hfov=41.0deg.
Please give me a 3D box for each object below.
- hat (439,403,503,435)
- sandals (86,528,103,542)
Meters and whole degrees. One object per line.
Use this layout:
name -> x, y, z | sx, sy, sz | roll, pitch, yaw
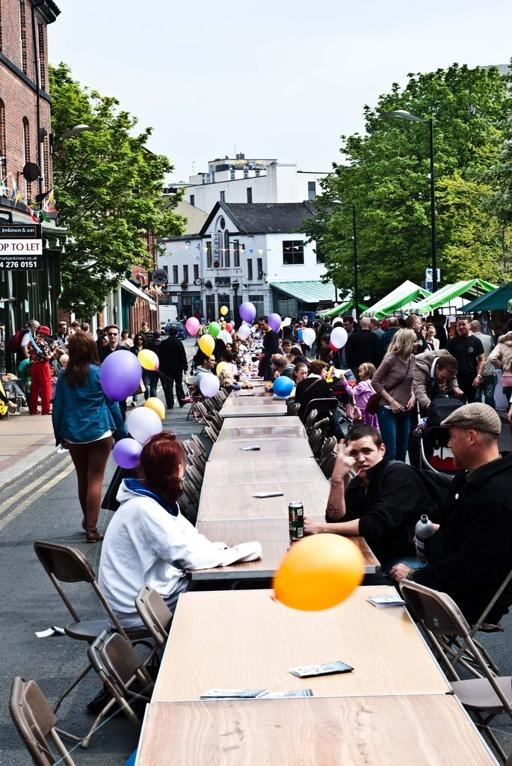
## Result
hat -> 1.252, 0.211, 3.962 | 0.292, 0.144, 0.191 | 12, 3, 21
sandals -> -1.881, 1.776, 7.975 | 0.186, 0.145, 0.381 | -4, 1, -15
